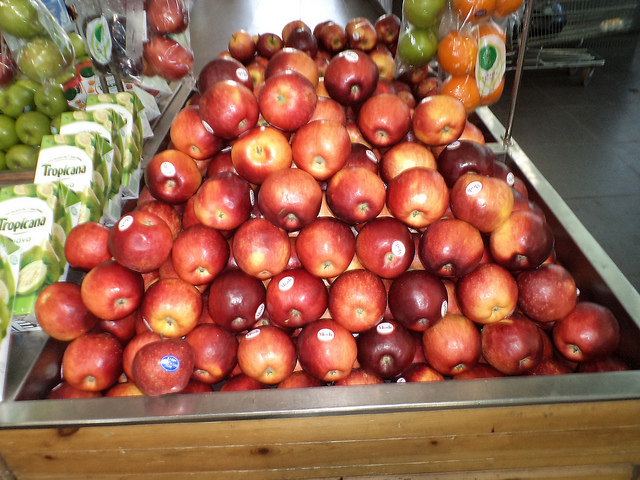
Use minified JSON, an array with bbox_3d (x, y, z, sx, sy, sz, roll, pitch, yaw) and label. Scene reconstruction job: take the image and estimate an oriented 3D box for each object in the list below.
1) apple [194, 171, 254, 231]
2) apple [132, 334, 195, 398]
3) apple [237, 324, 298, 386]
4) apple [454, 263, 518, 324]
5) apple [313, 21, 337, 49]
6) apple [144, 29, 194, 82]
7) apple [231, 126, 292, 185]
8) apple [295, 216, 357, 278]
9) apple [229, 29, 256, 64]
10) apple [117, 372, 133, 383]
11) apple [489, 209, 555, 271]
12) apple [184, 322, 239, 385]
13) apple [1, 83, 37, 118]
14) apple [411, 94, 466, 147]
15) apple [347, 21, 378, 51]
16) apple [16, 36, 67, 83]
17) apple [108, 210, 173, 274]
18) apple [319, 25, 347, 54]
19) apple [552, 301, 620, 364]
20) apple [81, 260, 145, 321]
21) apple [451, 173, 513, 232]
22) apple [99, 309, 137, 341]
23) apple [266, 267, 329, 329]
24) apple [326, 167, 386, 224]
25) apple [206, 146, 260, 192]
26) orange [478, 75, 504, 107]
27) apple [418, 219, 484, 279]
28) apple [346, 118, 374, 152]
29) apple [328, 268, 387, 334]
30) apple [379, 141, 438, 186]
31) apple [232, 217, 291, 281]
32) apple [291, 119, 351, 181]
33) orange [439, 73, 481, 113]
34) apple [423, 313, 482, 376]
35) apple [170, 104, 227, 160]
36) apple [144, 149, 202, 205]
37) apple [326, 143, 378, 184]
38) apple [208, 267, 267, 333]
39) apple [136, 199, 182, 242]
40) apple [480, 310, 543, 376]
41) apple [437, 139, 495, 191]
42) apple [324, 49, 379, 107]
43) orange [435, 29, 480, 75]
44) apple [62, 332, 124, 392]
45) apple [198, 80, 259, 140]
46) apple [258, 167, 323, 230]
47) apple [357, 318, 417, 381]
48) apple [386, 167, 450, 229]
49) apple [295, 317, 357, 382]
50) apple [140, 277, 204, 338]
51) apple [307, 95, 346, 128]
[{"bbox_3d":[-0.382,-0.141,2.050,0.203,0.223,0.264,5,69,1],"label":"apple"},{"bbox_3d":[-0.605,0.483,1.853,0.212,0.267,0.221,3,8,-16],"label":"apple"},{"bbox_3d":[-0.213,0.516,2.032,0.265,0.319,0.272,7,-8,-1],"label":"apple"},{"bbox_3d":[0.716,0.275,2.041,0.215,0.247,0.308,7,69,23],"label":"apple"},{"bbox_3d":[0.007,-1.535,3.636,0.191,0.274,0.214,-5,22,-6],"label":"apple"},{"bbox_3d":[-0.786,-0.952,2.516,0.147,0.211,0.128,-45,-2,-1],"label":"apple"},{"bbox_3d":[-0.222,-0.328,2.060,0.206,0.250,0.253,-14,-1,0],"label":"apple"},{"bbox_3d":[0.025,0.037,2.051,0.262,0.319,0.283,6,20,6],"label":"apple"},{"bbox_3d":[-0.506,-1.276,3.142,0.160,0.222,0.172,11,28,31],"label":"apple"},{"bbox_3d":[-0.801,0.570,1.963,0.039,0.056,0.028,-12,12,-10],"label":"apple"},{"bbox_3d":[0.822,0.007,1.978,0.215,0.249,0.257,9,52,26],"label":"apple"},{"bbox_3d":[-0.440,0.437,2.036,0.220,0.220,0.212,-53,20,-13],"label":"apple"},{"bbox_3d":[-1.627,-0.778,2.661,0.156,0.182,0.198,24,25,17],"label":"apple"},{"bbox_3d":[0.530,-0.532,2.137,0.200,0.250,0.221,-1,-16,18],"label":"apple"},{"bbox_3d":[0.262,-1.377,3.266,0.182,0.214,0.262,6,35,-7],"label":"apple"},{"bbox_3d":[-1.345,-0.862,2.313,0.173,0.239,0.179,5,11,44],"label":"apple"},{"bbox_3d":[-0.722,-0.015,2.001,0.216,0.267,0.232,3,5,-5],"label":"apple"},{"bbox_3d":[0.091,-1.440,3.485,0.158,0.185,0.207,-13,32,5],"label":"apple"},{"bbox_3d":[1.177,0.409,2.036,0.164,0.230,0.179,-9,-12,7],"label":"apple"},{"bbox_3d":[-0.809,0.206,1.914,0.211,0.237,0.231,5,27,-19],"label":"apple"},{"bbox_3d":[0.657,-0.160,1.955,0.203,0.239,0.219,5,6,23],"label":"apple"},{"bbox_3d":[-0.822,0.373,2.001,0.101,0.146,0.111,8,19,23],"label":"apple"},{"bbox_3d":[-0.115,0.244,2.069,0.254,0.259,0.300,3,15,19],"label":"apple"},{"bbox_3d":[0.142,-0.183,2.029,0.193,0.235,0.225,6,16,-9],"label":"apple"},{"bbox_3d":[-0.386,-0.288,2.169,0.191,0.282,0.213,-1,3,-3],"label":"apple"},{"bbox_3d":[0.935,-0.808,2.628,0.112,0.123,0.120,-7,16,-14],"label":"orange"},{"bbox_3d":[0.564,0.063,2.021,0.224,0.290,0.266,-4,-16,24],"label":"apple"},{"bbox_3d":[0.164,-0.510,2.282,0.125,0.138,0.128,-20,4,-16],"label":"apple"},{"bbox_3d":[0.158,0.248,2.041,0.210,0.245,0.234,-15,32,16],"label":"apple"},{"bbox_3d":[0.393,-0.340,2.128,0.178,0.211,0.186,-8,24,-17],"label":"apple"},{"bbox_3d":[-0.241,0.018,2.048,0.236,0.296,0.297,5,35,-7],"label":"apple"},{"bbox_3d":[0.003,-0.421,2.075,0.249,0.304,0.258,-17,25,-38],"label":"apple"},{"bbox_3d":[0.732,-0.739,2.503,0.182,0.250,0.180,-7,11,-37],"label":"orange"},{"bbox_3d":[0.538,0.436,2.059,0.202,0.234,0.271,-16,43,19],"label":"apple"},{"bbox_3d":[-0.585,-0.483,2.217,0.220,0.209,0.243,30,22,-34],"label":"apple"},{"bbox_3d":[-0.626,-0.288,2.155,0.214,0.256,0.239,11,14,-4],"label":"apple"},{"bbox_3d":[0.156,-0.305,2.126,0.172,0.207,0.194,2,1,5],"label":"apple"},{"bbox_3d":[-0.340,0.255,2.045,0.221,0.239,0.258,21,52,-17],"label":"apple"},{"bbox_3d":[-0.694,-0.115,2.121,0.163,0.203,0.179,9,6,-14],"label":"apple"},{"bbox_3d":[0.780,0.448,2.052,0.199,0.237,0.268,-2,48,-7],"label":"apple"},{"bbox_3d":[0.642,-0.325,2.203,0.214,0.248,0.213,-20,12,-23],"label":"apple"},{"bbox_3d":[0.128,-0.734,2.199,0.203,0.252,0.274,1,28,-2],"label":"apple"},{"bbox_3d":[0.714,-0.963,2.515,0.183,0.229,0.215,-2,13,5],"label":"orange"},{"bbox_3d":[-0.940,0.494,1.981,0.214,0.290,0.255,7,-5,-26],"label":"apple"},{"bbox_3d":[-0.374,-0.559,2.072,0.195,0.210,0.264,-12,73,-27],"label":"apple"},{"bbox_3d":[-0.118,-0.208,1.987,0.231,0.218,0.193,33,34,-22],"label":"apple"},{"bbox_3d":[0.275,0.448,2.041,0.217,0.228,0.219,-43,12,10],"label":"apple"},{"bbox_3d":[0.435,-0.231,2.037,0.273,0.245,0.265,-16,13,-28],"label":"apple"},{"bbox_3d":[0.025,0.454,1.968,0.253,0.180,0.180,-3,40,-2],"label":"apple"},{"bbox_3d":[-0.594,0.272,2.030,0.214,0.233,0.226,-22,46,8],"label":"apple"},{"bbox_3d":[0.040,-0.590,2.175,0.138,0.168,0.147,-5,-4,1],"label":"apple"}]
